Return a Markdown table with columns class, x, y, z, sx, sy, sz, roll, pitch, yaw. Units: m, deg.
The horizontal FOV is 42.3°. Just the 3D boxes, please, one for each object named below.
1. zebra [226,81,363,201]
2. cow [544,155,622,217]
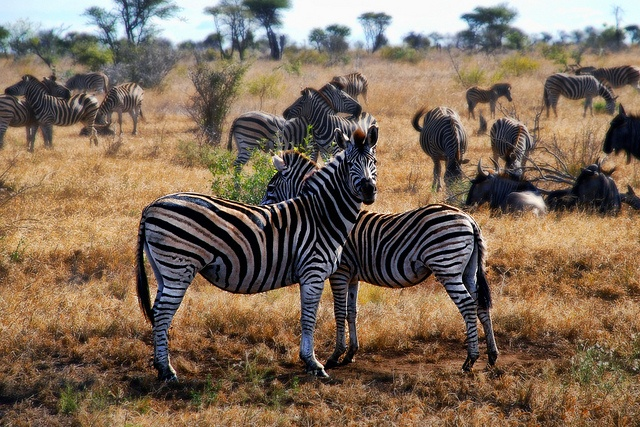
| class | x | y | z | sx | sy | sz | roll | pitch | yaw |
| --- | --- | --- | --- | --- | --- | --- | --- | --- | --- |
| zebra | -0.655 | -1.897 | 21.088 | 3.479 | 2.737 | 0.866 | -4 | -4 | -17 |
| cow | 6.022 | -0.594 | 18.709 | 1.503 | 1.160 | 0.547 | 4 | 8 | 22 |
